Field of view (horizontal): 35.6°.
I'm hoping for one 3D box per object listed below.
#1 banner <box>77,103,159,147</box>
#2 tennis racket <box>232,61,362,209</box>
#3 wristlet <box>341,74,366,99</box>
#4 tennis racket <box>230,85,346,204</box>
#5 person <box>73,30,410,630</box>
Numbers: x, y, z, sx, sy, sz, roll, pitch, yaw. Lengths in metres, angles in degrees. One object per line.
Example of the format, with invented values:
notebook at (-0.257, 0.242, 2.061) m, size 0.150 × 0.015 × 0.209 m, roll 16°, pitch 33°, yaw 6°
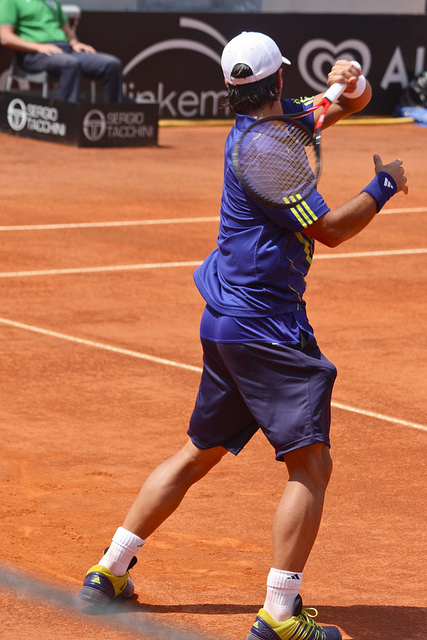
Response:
banner at (-1.839, -3.758, 12.832) m, size 1.174 × 0.559 × 1.075 m, roll 0°, pitch 7°, yaw -4°
tennis racket at (0.194, -0.390, 1.682) m, size 0.177 × 0.244 × 0.367 m, roll 7°, pitch 6°, yaw 31°
wristlet at (0.432, -0.719, 2.069) m, size 0.073 × 0.065 × 0.054 m, roll -2°, pitch -5°, yaw 18°
tennis racket at (0.181, -0.473, 1.751) m, size 0.242 × 0.377 × 0.474 m, roll 5°, pitch 5°, yaw 8°
person at (0.107, 0.032, 1.833) m, size 0.635 × 1.596 × 0.575 m, roll 6°, pitch 6°, yaw 23°
